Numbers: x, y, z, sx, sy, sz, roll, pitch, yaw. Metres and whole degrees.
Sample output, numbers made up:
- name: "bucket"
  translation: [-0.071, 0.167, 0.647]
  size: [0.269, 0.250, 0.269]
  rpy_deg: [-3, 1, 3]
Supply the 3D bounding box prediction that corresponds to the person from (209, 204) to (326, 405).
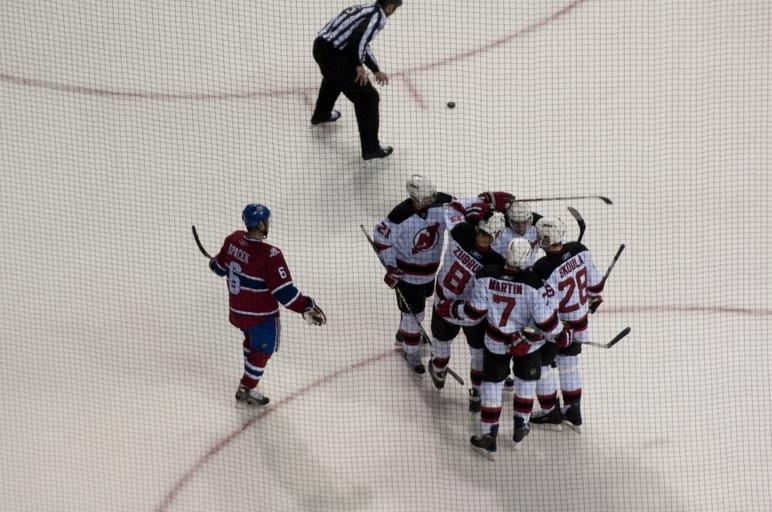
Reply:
- name: "person"
  translation: [-1.002, 0.418, 12.715]
  size: [1.202, 1.670, 0.583]
  rpy_deg: [19, 24, 40]
